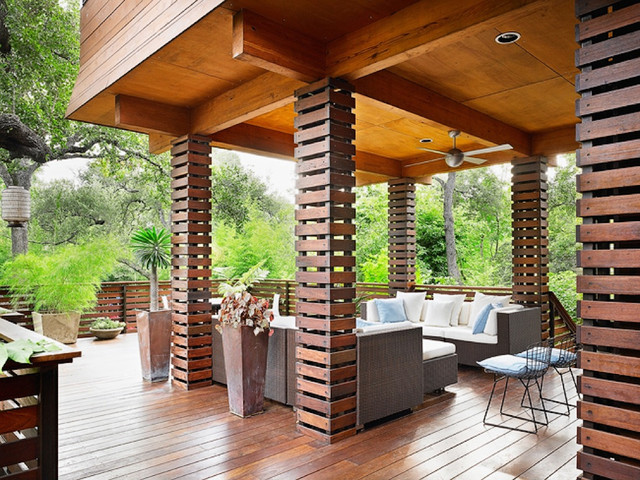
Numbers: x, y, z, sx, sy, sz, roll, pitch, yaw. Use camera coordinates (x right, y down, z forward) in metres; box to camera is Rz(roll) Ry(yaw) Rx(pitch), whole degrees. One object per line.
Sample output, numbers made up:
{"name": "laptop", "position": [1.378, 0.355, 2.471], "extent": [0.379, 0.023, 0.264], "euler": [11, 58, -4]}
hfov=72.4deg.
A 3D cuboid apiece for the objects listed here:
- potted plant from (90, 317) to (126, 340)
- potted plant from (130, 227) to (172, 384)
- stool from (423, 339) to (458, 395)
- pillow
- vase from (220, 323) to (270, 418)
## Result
{"name": "potted plant", "position": [-4.482, 1.855, 9.252], "extent": [0.588, 0.285, 0.510], "euler": [1, -7, 7]}
{"name": "potted plant", "position": [-2.340, 0.869, 6.236], "extent": [0.606, 2.126, 0.651], "euler": [3, 1, -27]}
{"name": "stool", "position": [1.441, 1.561, 5.391], "extent": [0.242, 0.503, 0.715], "euler": [0, 0, 37]}
{"name": "pillow", "position": [2.178, 1.163, 7.525], "extent": [2.162, 0.561, 1.010], "euler": [2, -2, 42]}
{"name": "vase", "position": [-0.796, 1.430, 4.977], "extent": [0.576, 0.912, 0.515], "euler": [5, 0, 44]}
